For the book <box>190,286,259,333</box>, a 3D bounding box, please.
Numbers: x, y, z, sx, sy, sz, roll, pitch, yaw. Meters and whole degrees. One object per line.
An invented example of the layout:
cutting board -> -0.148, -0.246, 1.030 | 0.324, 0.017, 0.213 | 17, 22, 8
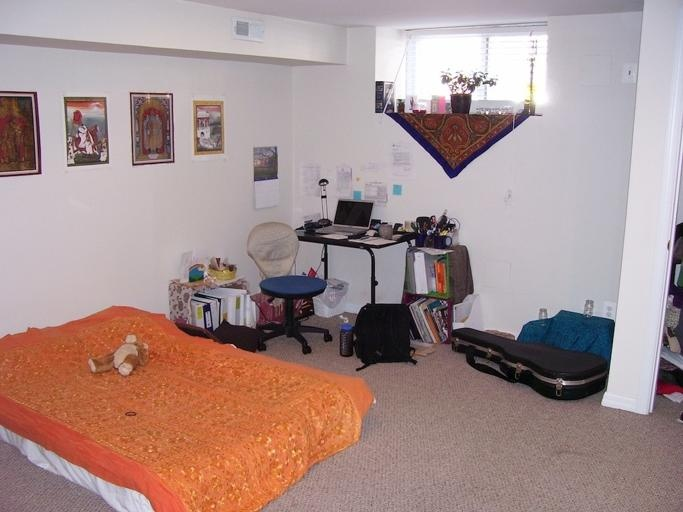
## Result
book -> -0.986, 0.451, 4.597 | 0.428, 0.162, 0.329 | 4, 8, 31

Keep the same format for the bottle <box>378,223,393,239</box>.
bottle -> 0.417, -0.256, 5.003 | 0.119, 0.128, 0.127 | 7, 14, 19

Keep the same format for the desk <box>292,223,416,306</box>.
desk -> 0.018, 0.079, 5.206 | 0.909, 0.608, 0.613 | 4, 10, 26

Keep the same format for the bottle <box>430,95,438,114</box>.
bottle -> 0.895, -1.479, 5.008 | 0.075, 0.155, 0.033 | 7, 16, 25

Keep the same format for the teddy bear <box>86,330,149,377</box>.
teddy bear -> -1.398, 0.611, 3.294 | 0.382, 0.182, 0.252 | 15, -27, -25

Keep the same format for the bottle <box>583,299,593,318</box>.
bottle -> 2.107, 0.449, 4.466 | 0.080, 0.151, 0.285 | 7, 17, 25

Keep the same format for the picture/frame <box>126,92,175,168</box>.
picture/frame -> -1.624, -1.090, 4.388 | 0.030, 0.786, 0.536 | 10, 16, 33

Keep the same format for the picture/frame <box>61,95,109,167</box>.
picture/frame -> -1.980, -0.989, 4.003 | 0.045, 0.683, 0.469 | 6, 12, 32

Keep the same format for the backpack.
backpack -> 0.370, 0.651, 4.585 | 0.505, 0.544, 0.332 | -1, 3, -2

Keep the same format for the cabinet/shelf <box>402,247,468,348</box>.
cabinet/shelf -> 0.929, 0.326, 5.038 | 0.587, 0.958, 0.560 | 3, 12, 23

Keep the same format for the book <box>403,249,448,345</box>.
book -> 0.792, 0.348, 4.831 | 0.438, 0.833, 0.319 | 2, 14, 6

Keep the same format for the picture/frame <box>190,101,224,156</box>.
picture/frame -> -1.255, -1.204, 4.806 | 0.037, 0.613, 0.441 | 6, 12, 32

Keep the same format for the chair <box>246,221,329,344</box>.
chair -> -0.492, 0.263, 4.767 | 0.603, 1.086, 0.705 | -9, 13, -38

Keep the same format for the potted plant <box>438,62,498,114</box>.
potted plant -> 1.199, -1.588, 4.958 | 0.524, 0.417, 0.382 | 4, 15, 15

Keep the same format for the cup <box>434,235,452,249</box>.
cup -> 0.946, -0.141, 4.877 | 0.108, 0.114, 0.149 | 1, 3, 35
